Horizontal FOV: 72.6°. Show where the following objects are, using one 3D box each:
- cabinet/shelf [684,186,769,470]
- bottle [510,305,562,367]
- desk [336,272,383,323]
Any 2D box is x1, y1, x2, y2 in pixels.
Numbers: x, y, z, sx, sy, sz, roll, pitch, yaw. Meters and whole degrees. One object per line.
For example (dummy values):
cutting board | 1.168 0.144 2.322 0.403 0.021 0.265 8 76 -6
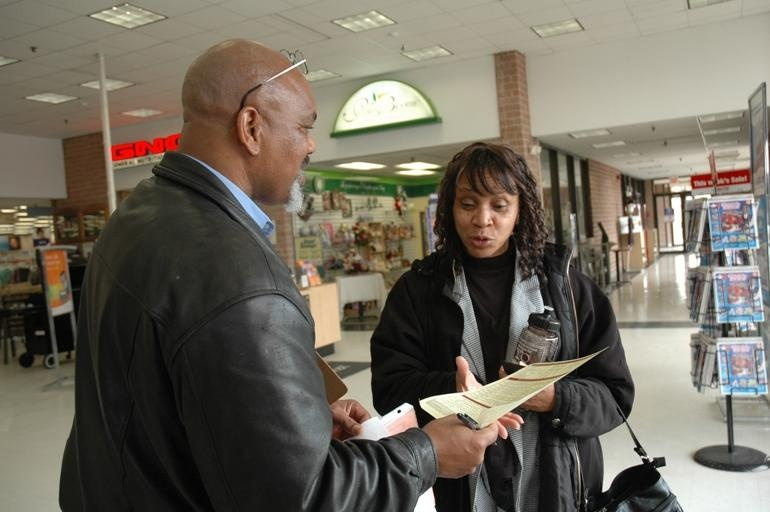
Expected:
cabinet/shelf | 2.886 0.561 4.320 0.572 2.147 0.877 -3 2 32
bottle | 0.557 0.302 1.914 0.121 0.185 0.123 27 -9 4
desk | -0.577 0.852 10.752 0.920 0.686 0.914 -6 -8 9
